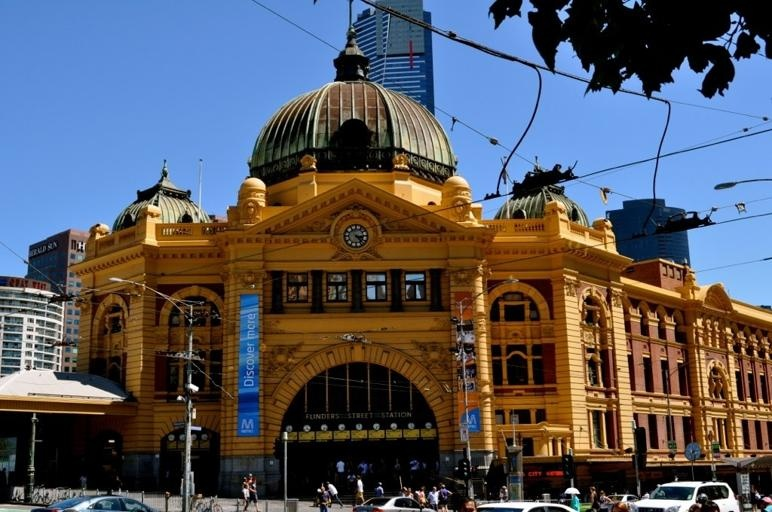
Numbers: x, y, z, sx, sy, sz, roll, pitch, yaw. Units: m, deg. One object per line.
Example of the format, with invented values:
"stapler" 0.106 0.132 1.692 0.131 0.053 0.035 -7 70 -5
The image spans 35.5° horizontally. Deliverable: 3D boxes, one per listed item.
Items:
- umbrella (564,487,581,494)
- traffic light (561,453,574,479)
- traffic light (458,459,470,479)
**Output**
"umbrella" 14.085 17.301 89.424 1.100 0.406 1.074 3 -4 -30
"traffic light" 13.509 15.319 89.014 0.620 1.564 0.926 0 -20 -1
"traffic light" 5.713 15.383 87.987 0.844 1.450 0.640 -1 -20 1
